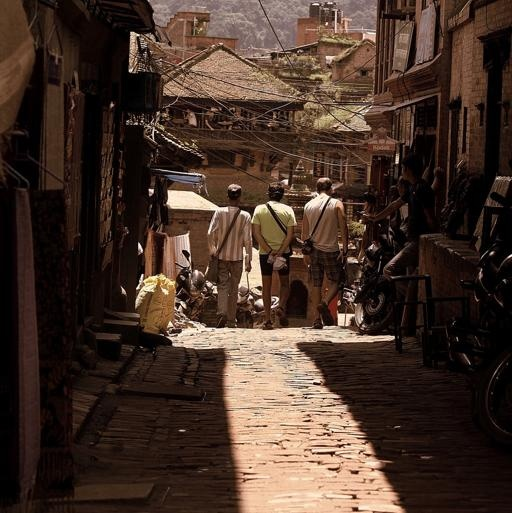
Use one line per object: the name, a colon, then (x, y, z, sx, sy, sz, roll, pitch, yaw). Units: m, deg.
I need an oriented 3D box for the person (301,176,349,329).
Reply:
person: (1.029, -0.039, 10.683, 0.674, 2.335, 0.736, 1, 1, 4)

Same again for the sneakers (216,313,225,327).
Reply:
sneakers: (-0.563, 1.051, 11.343, 0.076, 0.266, 0.100, 4, 32, -2)

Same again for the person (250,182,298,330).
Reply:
person: (0.269, 0.005, 11.099, 0.748, 2.326, 0.651, 0, 1, -25)

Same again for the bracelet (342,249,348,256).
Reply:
bracelet: (1.328, -0.056, 10.601, 0.058, 0.099, 0.033, -2, -4, 1)

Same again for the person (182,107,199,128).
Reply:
person: (-4.527, -9.420, 48.182, 0.872, 1.388, 0.454, 1, -5, -10)

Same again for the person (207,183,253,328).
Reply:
person: (-0.386, 0.046, 10.985, 0.614, 2.195, 0.783, 1, 1, 9)

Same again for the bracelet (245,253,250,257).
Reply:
bracelet: (-0.126, -0.023, 11.105, 0.063, 0.074, 0.050, 1, -5, -9)

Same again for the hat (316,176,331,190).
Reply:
hat: (1.026, -1.110, 10.730, 0.158, 0.228, 0.212, 1, 10, 7)

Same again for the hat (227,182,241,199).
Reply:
hat: (-0.335, -0.990, 10.708, 0.159, 0.239, 0.233, 1, 9, 1)

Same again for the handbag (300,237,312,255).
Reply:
handbag: (0.756, -0.143, 10.637, 0.169, 0.250, 0.187, 0, 1, -10)

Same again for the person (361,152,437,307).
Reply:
person: (2.320, -0.585, 10.467, 1.426, 2.874, 1.071, 0, 4, 5)
